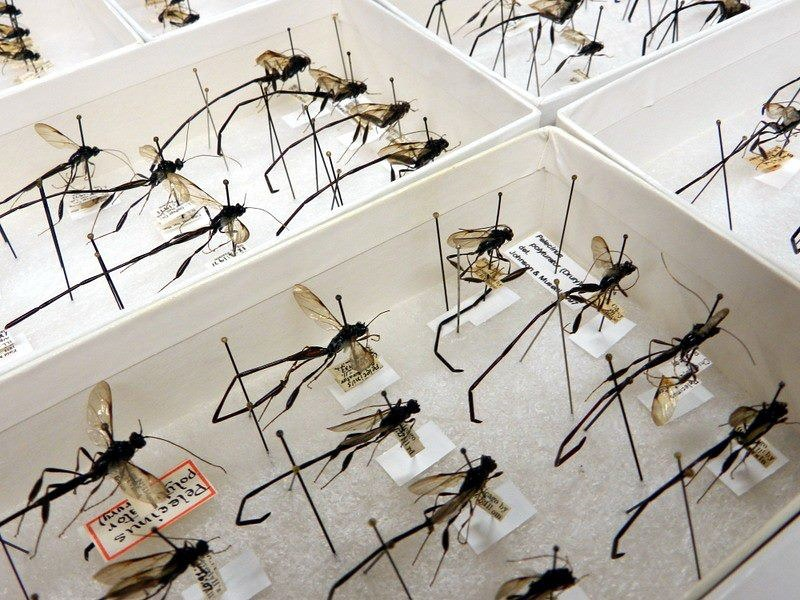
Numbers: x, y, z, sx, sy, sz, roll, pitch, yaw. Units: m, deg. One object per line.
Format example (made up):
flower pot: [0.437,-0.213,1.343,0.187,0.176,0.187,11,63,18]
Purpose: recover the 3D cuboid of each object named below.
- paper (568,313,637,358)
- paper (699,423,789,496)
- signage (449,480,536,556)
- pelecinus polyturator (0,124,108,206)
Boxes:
paper: [0.745,0.137,2.369,0.233,0.002,0.138,-41,61,-20]
paper: [1.127,0.524,2.058,0.244,0.071,0.114,-28,38,-8]
signage: [0.293,0.677,2.030,0.258,0.099,0.138,-33,39,-15]
pelecinus polyturator: [-1.587,-0.636,2.906,0.387,0.308,0.177,-21,66,-23]
